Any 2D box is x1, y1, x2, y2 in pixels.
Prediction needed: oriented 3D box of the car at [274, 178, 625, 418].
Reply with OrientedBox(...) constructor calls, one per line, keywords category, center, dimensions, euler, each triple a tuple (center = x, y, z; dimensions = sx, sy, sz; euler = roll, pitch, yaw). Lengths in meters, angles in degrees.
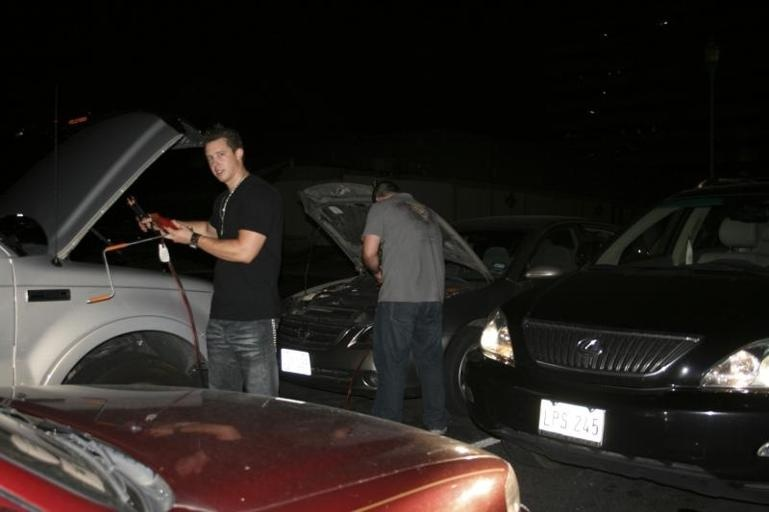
OrientedBox(category="car", center=(0.731, 0.404, 6.002), dimensions=(3.433, 1.406, 2.044), euler=(1, 0, -43))
